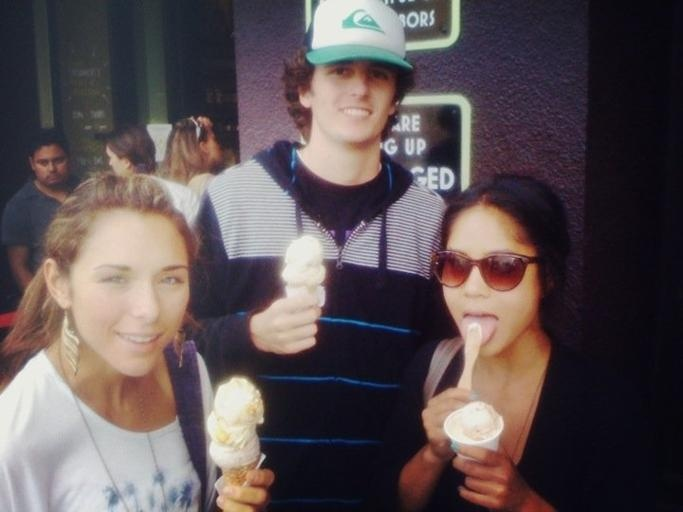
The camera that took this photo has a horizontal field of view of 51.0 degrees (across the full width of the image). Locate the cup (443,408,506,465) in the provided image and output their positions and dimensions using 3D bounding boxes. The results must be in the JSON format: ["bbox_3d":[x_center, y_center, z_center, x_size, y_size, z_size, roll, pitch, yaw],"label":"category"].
[{"bbox_3d":[0.537,0.702,2.926,0.231,0.228,0.167,6,12,9],"label":"cup"}]

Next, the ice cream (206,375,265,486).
[{"bbox_3d":[-0.429,0.718,2.913,0.221,0.509,0.213,3,11,-6],"label":"ice cream"}]
